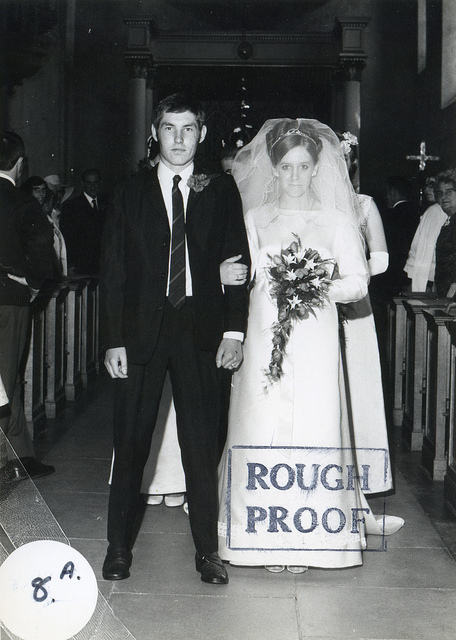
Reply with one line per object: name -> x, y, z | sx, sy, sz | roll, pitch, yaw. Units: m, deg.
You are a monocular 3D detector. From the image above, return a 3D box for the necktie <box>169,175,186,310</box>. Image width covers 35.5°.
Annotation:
necktie -> -0.141, -0.220, 2.000 | 0.045, 0.375, 0.056 | 1, 2, -7

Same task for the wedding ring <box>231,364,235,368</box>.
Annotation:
wedding ring -> 0.015, 0.131, 2.066 | 0.008, 0.009, 0.002 | -1, 23, -23

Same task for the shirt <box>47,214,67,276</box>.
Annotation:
shirt -> -1.079, -0.460, 4.487 | 0.067, 0.165, 0.523 | -23, -2, -9
